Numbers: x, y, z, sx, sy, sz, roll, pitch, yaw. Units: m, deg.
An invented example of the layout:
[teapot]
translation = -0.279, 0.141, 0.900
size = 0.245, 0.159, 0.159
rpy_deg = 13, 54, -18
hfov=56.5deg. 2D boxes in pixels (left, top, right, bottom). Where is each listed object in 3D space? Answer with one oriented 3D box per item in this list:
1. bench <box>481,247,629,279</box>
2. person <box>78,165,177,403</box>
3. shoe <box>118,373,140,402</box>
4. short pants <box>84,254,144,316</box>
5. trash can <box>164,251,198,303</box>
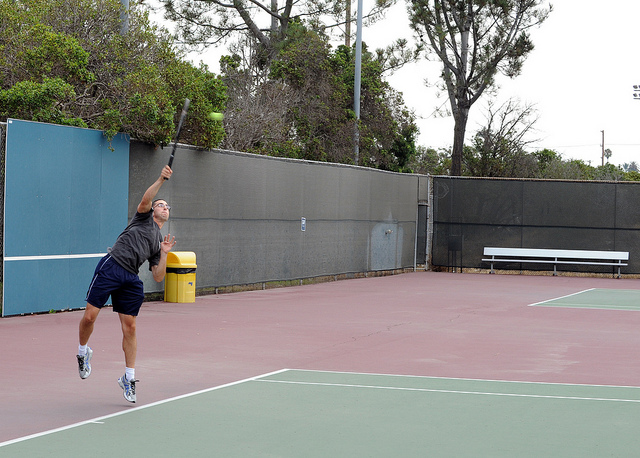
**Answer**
[bench]
translation = 9.901, 1.376, 25.054
size = 5.565, 1.101, 0.659
rpy_deg = 2, 2, 8
[person]
translation = -2.143, 0.513, 6.655
size = 0.984, 2.487, 0.704
rpy_deg = 0, 2, -30
[shoe]
translation = -2.054, 1.715, 6.413
size = 0.184, 0.319, 0.273
rpy_deg = 1, 2, -19
[short pants]
translation = -2.293, 0.638, 6.815
size = 0.634, 0.623, 0.373
rpy_deg = 20, -13, -41
[trash can]
translation = -3.399, 1.149, 14.529
size = 0.733, 1.193, 0.815
rpy_deg = 0, -1, 8
